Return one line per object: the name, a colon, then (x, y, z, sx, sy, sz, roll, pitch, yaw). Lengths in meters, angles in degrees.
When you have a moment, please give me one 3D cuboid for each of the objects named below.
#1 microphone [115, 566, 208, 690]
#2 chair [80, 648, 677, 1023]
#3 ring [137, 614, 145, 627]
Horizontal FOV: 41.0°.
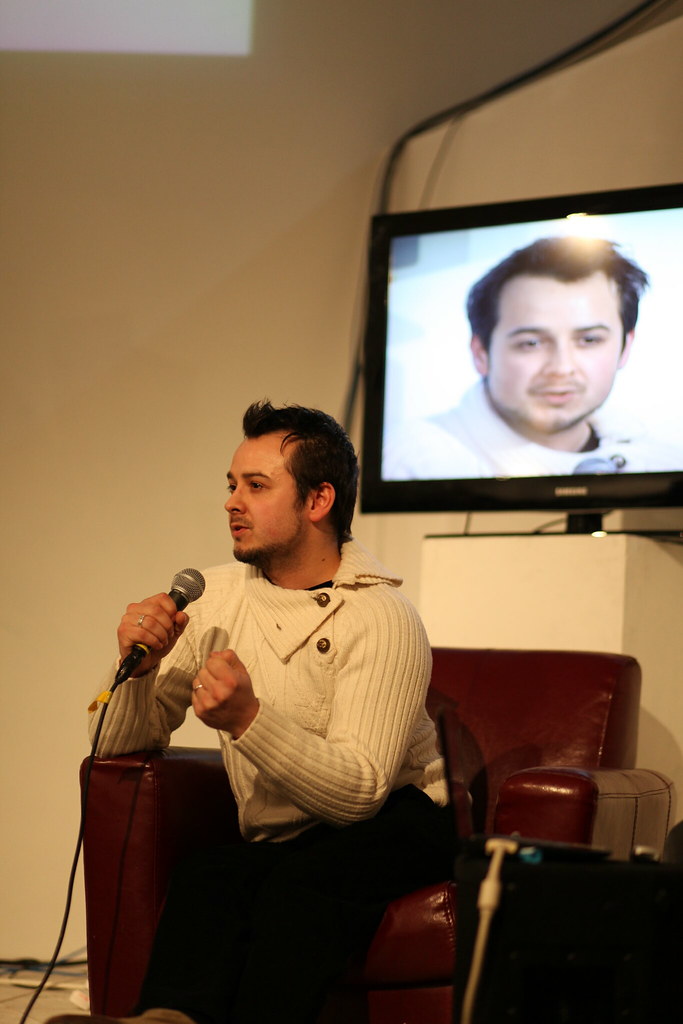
microphone: (-0.242, 0.153, 1.332, 0.061, 0.054, 0.273, 23, 41, 13)
chair: (0.095, 0.425, 1.371, 0.699, 0.601, 0.555, -7, -22, 26)
ring: (-0.275, 0.148, 1.250, 0.008, 0.012, 0.015, 2, 3, -11)
